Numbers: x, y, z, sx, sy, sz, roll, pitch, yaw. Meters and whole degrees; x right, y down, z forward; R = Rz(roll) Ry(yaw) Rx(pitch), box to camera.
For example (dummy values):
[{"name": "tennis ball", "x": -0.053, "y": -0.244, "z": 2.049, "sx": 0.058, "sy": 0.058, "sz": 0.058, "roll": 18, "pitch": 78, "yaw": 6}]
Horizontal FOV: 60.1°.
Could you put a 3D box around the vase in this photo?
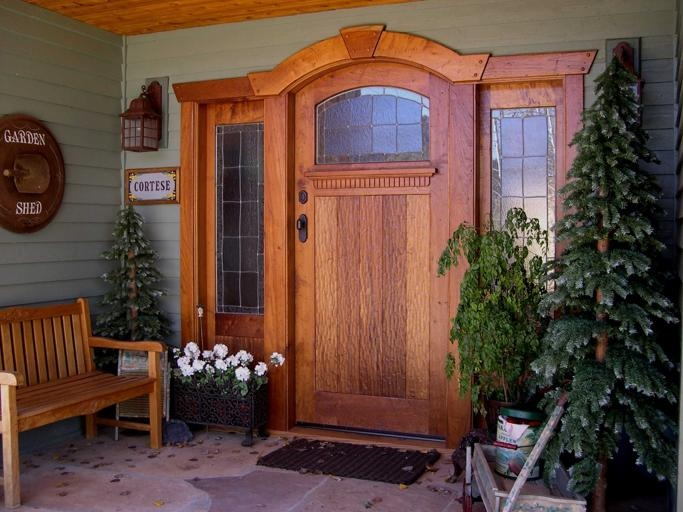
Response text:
[{"name": "vase", "x": -1.018, "y": 1.246, "z": 4.825, "sx": 0.681, "sy": 0.523, "sz": 0.594, "roll": 5, "pitch": 2, "yaw": 25}]

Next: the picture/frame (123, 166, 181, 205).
[{"name": "picture/frame", "x": -1.698, "y": -0.641, "z": 5.341, "sx": 0.691, "sy": 0.371, "sz": 0.033, "roll": 0, "pitch": 1, "yaw": 15}]

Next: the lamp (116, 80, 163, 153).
[{"name": "lamp", "x": -1.807, "y": -1.258, "z": 5.270, "sx": 0.341, "sy": 0.631, "sz": 0.273, "roll": 0, "pitch": 4, "yaw": 27}]

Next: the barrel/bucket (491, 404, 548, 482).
[{"name": "barrel/bucket", "x": 1.022, "y": 1.138, "z": 3.625, "sx": 0.346, "sy": 0.381, "sz": 0.352, "roll": 3, "pitch": -7, "yaw": 0}]

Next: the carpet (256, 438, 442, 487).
[{"name": "carpet", "x": 0.067, "y": 1.537, "z": 4.448, "sx": 1.326, "sy": 0.057, "sz": 0.573, "roll": -1, "pitch": 5, "yaw": 15}]

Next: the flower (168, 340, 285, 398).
[{"name": "flower", "x": -0.994, "y": 0.909, "z": 4.903, "sx": 0.925, "sy": 0.311, "sz": 0.404, "roll": 7, "pitch": 16, "yaw": 16}]
